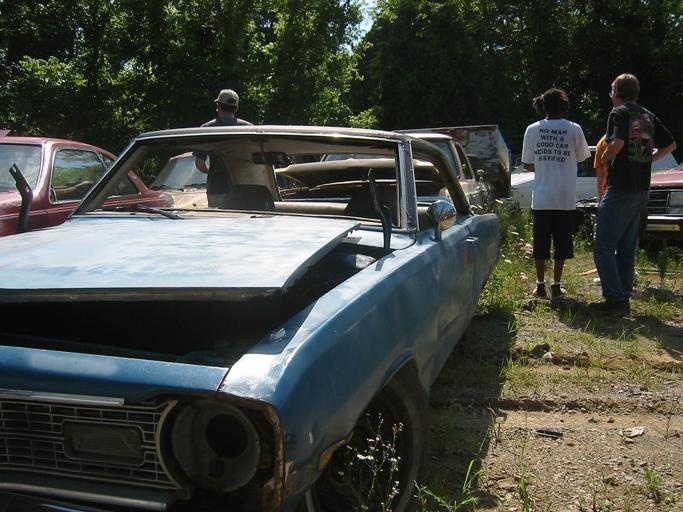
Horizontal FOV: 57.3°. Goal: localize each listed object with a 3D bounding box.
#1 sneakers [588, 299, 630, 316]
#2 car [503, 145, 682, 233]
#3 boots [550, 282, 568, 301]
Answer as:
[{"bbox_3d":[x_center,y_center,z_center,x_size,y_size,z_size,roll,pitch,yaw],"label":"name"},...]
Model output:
[{"bbox_3d":[2.476,0.489,5.813,0.383,0.180,0.146,3,2,28],"label":"sneakers"},{"bbox_3d":[5.045,-1.541,12.869,3.311,1.780,2.025,-2,6,13],"label":"car"},{"bbox_3d":[2.228,0.332,6.404,0.095,0.174,0.263,-2,19,30],"label":"boots"}]
